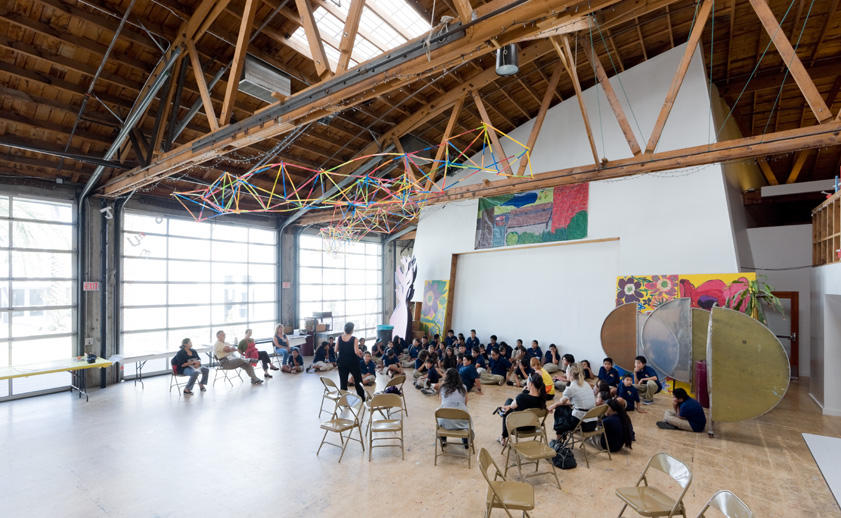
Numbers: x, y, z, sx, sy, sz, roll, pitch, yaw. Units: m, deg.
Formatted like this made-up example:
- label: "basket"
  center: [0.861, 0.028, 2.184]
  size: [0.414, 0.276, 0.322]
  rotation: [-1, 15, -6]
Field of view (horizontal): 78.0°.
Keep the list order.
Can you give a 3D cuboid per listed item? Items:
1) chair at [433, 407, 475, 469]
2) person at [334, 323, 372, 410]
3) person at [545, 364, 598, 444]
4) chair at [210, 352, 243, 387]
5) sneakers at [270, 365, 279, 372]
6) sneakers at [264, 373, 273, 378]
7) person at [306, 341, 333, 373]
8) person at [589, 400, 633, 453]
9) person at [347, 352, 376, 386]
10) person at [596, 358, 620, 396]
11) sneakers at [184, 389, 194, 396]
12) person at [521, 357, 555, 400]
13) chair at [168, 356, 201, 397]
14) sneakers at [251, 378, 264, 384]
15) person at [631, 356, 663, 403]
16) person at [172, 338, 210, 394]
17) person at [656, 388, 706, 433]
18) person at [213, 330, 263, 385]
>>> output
- label: "chair"
  center: [0.638, 3.410, 10.184]
  size: [0.811, 1.128, 0.921]
  rotation: [-2, -6, 1]
- label: "person"
  center: [-1.591, 2.295, 11.765]
  size: [0.673, 1.757, 0.545]
  rotation: [1, 14, 5]
- label: "person"
  center: [2.931, 2.755, 10.060]
  size: [0.853, 1.392, 0.410]
  rotation: [-3, -5, 11]
- label: "chair"
  center: [-5.382, 3.028, 14.195]
  size: [0.913, 1.186, 0.742]
  rotation: [-7, -9, 28]
- label: "sneakers"
  center: [-4.232, 3.148, 15.060]
  size: [0.220, 0.084, 0.126]
  rotation: [4, -5, 15]
- label: "sneakers"
  center: [-4.166, 3.161, 14.171]
  size: [0.206, 0.083, 0.106]
  rotation: [1, -5, -1]
- label: "person"
  center: [-2.887, 2.805, 15.084]
  size: [0.896, 0.846, 0.429]
  rotation: [1, -6, -27]
- label: "person"
  center: [3.865, 3.235, 10.410]
  size: [0.835, 1.074, 0.989]
  rotation: [-2, 5, -2]
- label: "person"
  center: [-1.426, 2.874, 13.760]
  size: [0.873, 0.965, 0.788]
  rotation: [1, -9, 1]
- label: "person"
  center: [4.395, 2.766, 12.196]
  size: [0.629, 0.932, 0.544]
  rotation: [0, 7, 30]
- label: "sneakers"
  center: [-5.757, 3.271, 12.867]
  size: [0.252, 0.149, 0.294]
  rotation: [0, -6, -20]
- label: "person"
  center: [2.520, 2.547, 11.135]
  size: [0.612, 0.894, 0.638]
  rotation: [-1, 14, 37]
- label: "chair"
  center: [-5.903, 2.925, 13.156]
  size: [0.660, 0.844, 0.483]
  rotation: [-5, -6, 26]
- label: "sneakers"
  center: [-4.305, 3.193, 13.662]
  size: [0.304, 0.137, 0.120]
  rotation: [2, -5, 2]
- label: "person"
  center: [5.325, 2.815, 12.227]
  size: [0.628, 0.887, 0.650]
  rotation: [4, -45, -5]
- label: "person"
  center: [-5.843, 2.673, 13.316]
  size: [0.794, 1.290, 0.699]
  rotation: [-1, 5, 22]
- label: "person"
  center: [5.585, 3.262, 11.273]
  size: [0.776, 0.886, 1.051]
  rotation: [15, -16, -36]
- label: "person"
  center: [-4.895, 2.603, 13.893]
  size: [1.186, 1.408, 0.891]
  rotation: [-1, -6, -16]
